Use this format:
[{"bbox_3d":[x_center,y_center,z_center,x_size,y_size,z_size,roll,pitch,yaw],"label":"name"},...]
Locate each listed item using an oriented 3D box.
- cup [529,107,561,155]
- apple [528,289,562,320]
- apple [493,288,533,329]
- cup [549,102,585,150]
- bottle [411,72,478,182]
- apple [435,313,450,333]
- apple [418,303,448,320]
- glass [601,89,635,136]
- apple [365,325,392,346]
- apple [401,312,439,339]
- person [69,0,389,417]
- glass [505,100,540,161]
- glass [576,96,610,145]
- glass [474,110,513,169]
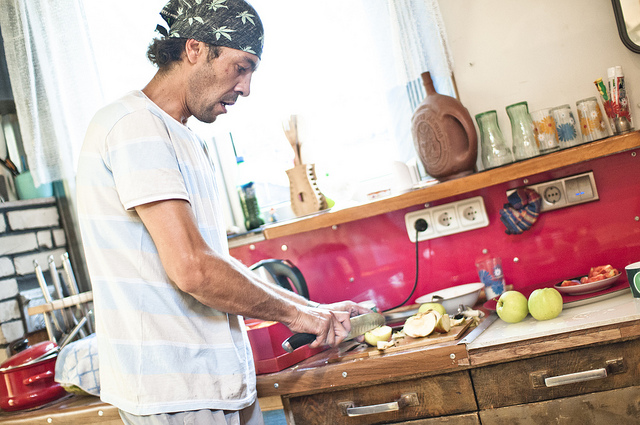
[{"bbox_3d":[0.876,-0.313,1.801,0.104,0.169,0.106,-16,5,1],"label":"cup"},{"bbox_3d":[0.741,0.303,1.530,0.101,0.099,0.099,-2,1,11],"label":"apple"},{"bbox_3d":[0.669,0.338,1.628,0.116,0.126,0.114,14,-21,-40],"label":"apple"},{"bbox_3d":[0.951,-0.334,1.776,0.128,0.162,0.127,-18,11,4],"label":"cup"},{"bbox_3d":[0.489,-0.301,1.834,0.230,0.408,0.081,-14,0,8],"label":"bottle"},{"bbox_3d":[0.420,0.383,1.594,0.063,0.064,0.028,-13,0,-34],"label":"apple"},{"bbox_3d":[0.416,0.354,1.693,0.055,0.050,0.053,-8,10,-9],"label":"apple"},{"bbox_3d":[1.098,-0.374,1.758,0.092,0.164,0.125,1,8,19],"label":"glass"},{"bbox_3d":[0.209,0.434,1.666,0.070,0.041,0.070,-25,0,12],"label":"apple"},{"bbox_3d":[0.351,0.391,1.613,0.126,0.086,0.074,-14,-1,45],"label":"apple"},{"bbox_3d":[-0.301,0.072,1.586,0.645,1.334,0.787,-14,0,29],"label":"person"},{"bbox_3d":[0.790,-0.309,1.820,0.118,0.228,0.158,-14,-6,17],"label":"glass"},{"bbox_3d":[1.032,-0.349,1.761,0.098,0.166,0.102,-12,1,39],"label":"glass"},{"bbox_3d":[0.668,-0.280,1.850,0.145,0.235,0.149,-14,-4,43],"label":"glass"}]
